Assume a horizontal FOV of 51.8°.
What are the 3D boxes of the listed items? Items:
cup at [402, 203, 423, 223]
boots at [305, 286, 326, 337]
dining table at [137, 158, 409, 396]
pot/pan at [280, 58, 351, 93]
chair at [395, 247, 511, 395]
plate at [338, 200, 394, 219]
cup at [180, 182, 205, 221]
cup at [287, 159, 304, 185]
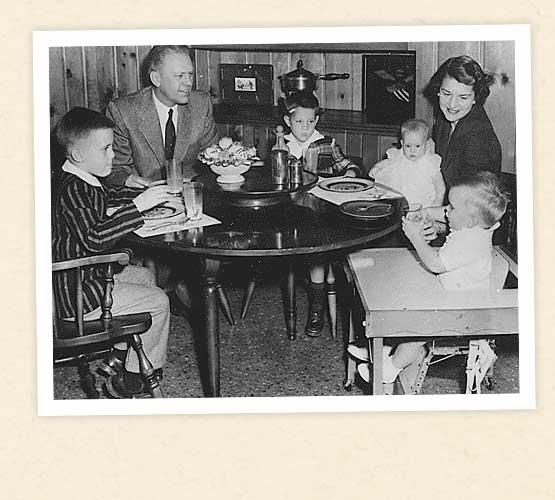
[{"bbox_3d":[0.545,-0.149,2.327,0.094,0.084,0.081,3,20,36],"label":"cup"},{"bbox_3d":[0.186,0.298,2.820,0.090,0.241,0.249,0,14,6],"label":"boots"},{"bbox_3d":[0.025,-0.086,2.299,0.998,0.606,1.039,-10,26,-18],"label":"dining table"},{"bbox_3d":[0.236,-0.927,3.117,0.441,0.205,0.265,-1,24,2],"label":"pot/pan"},{"bbox_3d":[0.640,0.247,2.392,0.482,0.741,0.535,1,9,5],"label":"chair"},{"bbox_3d":[0.372,-0.168,2.346,0.113,0.013,0.119,-8,26,-15],"label":"plate"},{"bbox_3d":[-0.340,-0.187,2.278,0.098,0.164,0.103,1,26,0],"label":"cup"},{"bbox_3d":[0.069,-0.338,2.505,0.108,0.135,0.088,0,9,-1],"label":"cup"}]
